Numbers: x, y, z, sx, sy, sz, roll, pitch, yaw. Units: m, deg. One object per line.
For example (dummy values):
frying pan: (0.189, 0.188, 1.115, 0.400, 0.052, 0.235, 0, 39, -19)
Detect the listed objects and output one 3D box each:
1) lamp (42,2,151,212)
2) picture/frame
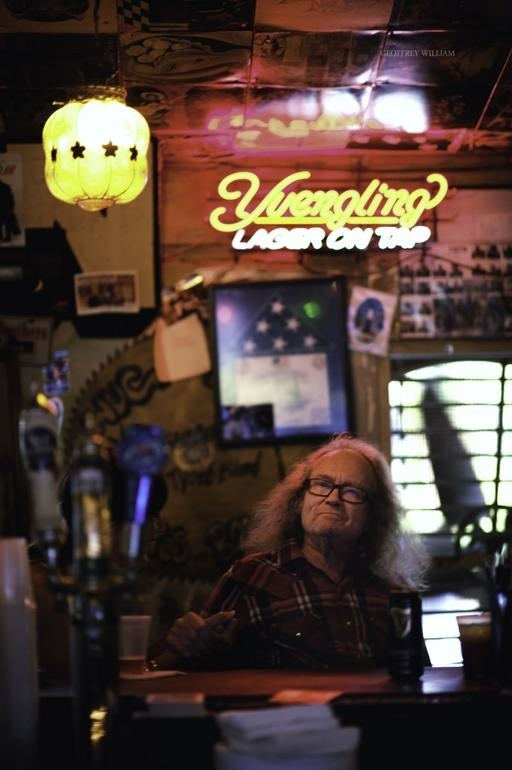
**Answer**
lamp: (-0.537, -0.841, 3.142, 0.467, 0.431, 0.420, 2, -7, -11)
picture/frame: (0.083, -0.058, 3.840, 0.873, 0.829, 0.095, -2, -8, -1)
